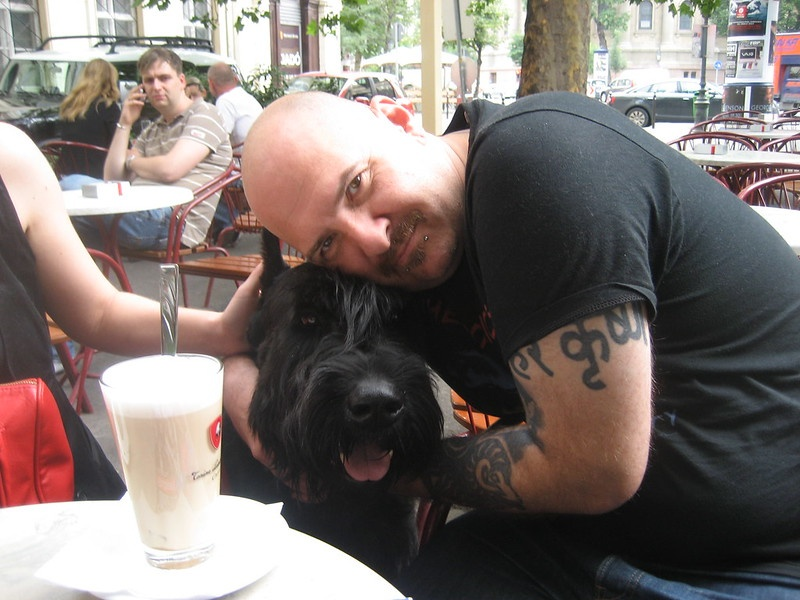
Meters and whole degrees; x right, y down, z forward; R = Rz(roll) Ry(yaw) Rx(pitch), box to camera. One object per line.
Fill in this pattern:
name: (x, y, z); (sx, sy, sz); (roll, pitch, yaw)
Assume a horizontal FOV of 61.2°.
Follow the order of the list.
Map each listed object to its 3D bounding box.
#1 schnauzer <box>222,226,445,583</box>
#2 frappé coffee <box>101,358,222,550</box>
schnauzer: (-0.252, 0.286, 2.649); (0.429, 0.923, 1.555); (0, 12, -13)
frappé coffee: (-0.488, 0.316, 1.504); (0.225, 0.421, 0.184); (4, 13, 19)
